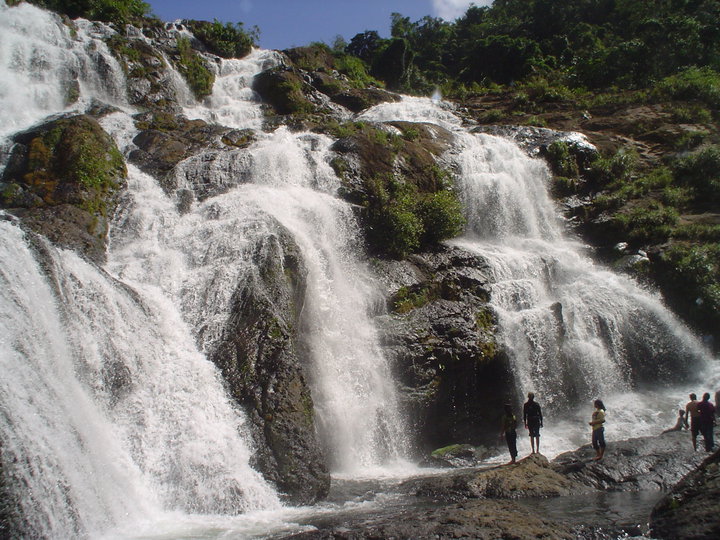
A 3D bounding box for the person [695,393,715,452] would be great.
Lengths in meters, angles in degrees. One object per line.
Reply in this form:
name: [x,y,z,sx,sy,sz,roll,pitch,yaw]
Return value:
person: [11.910,5.249,24.623,0.514,1.722,1.066,-1,5,26]
